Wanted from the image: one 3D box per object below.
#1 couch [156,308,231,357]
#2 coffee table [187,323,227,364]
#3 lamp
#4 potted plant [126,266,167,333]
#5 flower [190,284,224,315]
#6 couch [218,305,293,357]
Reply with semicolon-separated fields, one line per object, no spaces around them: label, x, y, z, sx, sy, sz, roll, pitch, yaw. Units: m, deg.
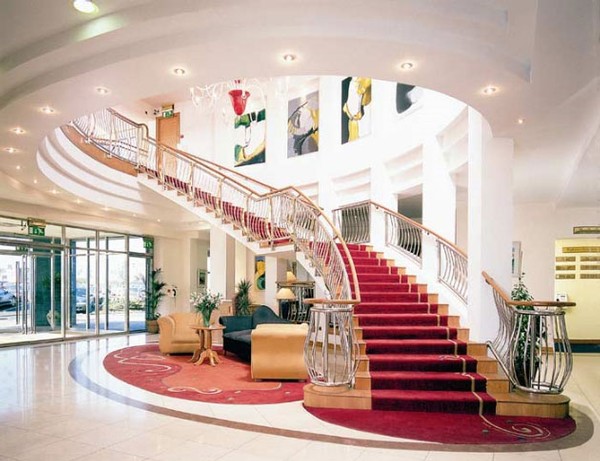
couch;-2.695;2.393;10.128;1.329;0.976;1.047;5;-13;-27
coffee table;-1.910;2.363;8.938;0.673;0.734;0.723;-5;-9;43
lamp;-1.446;-3.318;10.470;1.350;0.635;1.347;0;1;14
potted plant;-4.957;2.252;14.174;0.996;2.121;0.736;0;-5;4
flower;-2.023;1.525;9.401;0.906;0.835;0.954;0;-5;-3
couch;-1.077;2.288;9.625;0.908;1.145;1.664;4;-7;-36
